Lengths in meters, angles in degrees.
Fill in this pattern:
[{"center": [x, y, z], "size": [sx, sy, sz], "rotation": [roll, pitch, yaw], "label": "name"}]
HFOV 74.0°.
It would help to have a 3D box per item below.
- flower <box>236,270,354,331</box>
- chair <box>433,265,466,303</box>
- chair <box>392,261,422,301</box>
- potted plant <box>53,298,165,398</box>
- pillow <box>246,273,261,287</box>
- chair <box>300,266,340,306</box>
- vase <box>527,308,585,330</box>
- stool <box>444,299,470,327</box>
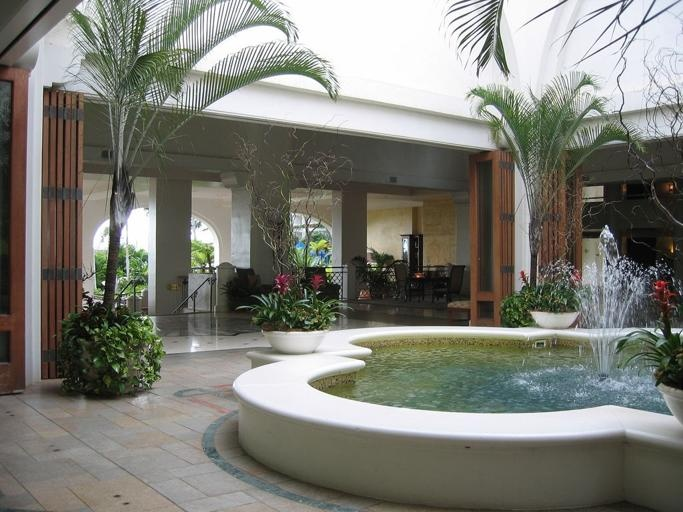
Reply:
[{"center": [-0.566, 0.577, 5.246], "size": [0.987, 0.730, 0.979], "rotation": [-1, 11, -14], "label": "flower"}, {"center": [3.532, 0.908, 15.197], "size": [0.979, 1.259, 4.158], "rotation": [-1, -3, 12], "label": "chair"}, {"center": [2.386, 0.970, 16.260], "size": [0.883, 1.527, 0.983], "rotation": [0, -4, -22], "label": "chair"}, {"center": [-2.408, 0.967, 4.723], "size": [0.995, 0.984, 0.579], "rotation": [1, -3, -25], "label": "potted plant"}, {"center": [-2.585, 0.695, 13.160], "size": [0.321, 0.421, 0.141], "rotation": [3, -11, -30], "label": "pillow"}, {"center": [-0.502, 0.696, 11.653], "size": [0.735, 1.104, 0.988], "rotation": [3, -5, -29], "label": "chair"}, {"center": [3.367, 0.996, 7.133], "size": [0.553, 0.284, 0.486], "rotation": [1, -3, -29], "label": "vase"}, {"center": [2.817, 1.401, 10.936], "size": [0.607, 0.510, 0.971], "rotation": [-1, -2, 21], "label": "stool"}]
